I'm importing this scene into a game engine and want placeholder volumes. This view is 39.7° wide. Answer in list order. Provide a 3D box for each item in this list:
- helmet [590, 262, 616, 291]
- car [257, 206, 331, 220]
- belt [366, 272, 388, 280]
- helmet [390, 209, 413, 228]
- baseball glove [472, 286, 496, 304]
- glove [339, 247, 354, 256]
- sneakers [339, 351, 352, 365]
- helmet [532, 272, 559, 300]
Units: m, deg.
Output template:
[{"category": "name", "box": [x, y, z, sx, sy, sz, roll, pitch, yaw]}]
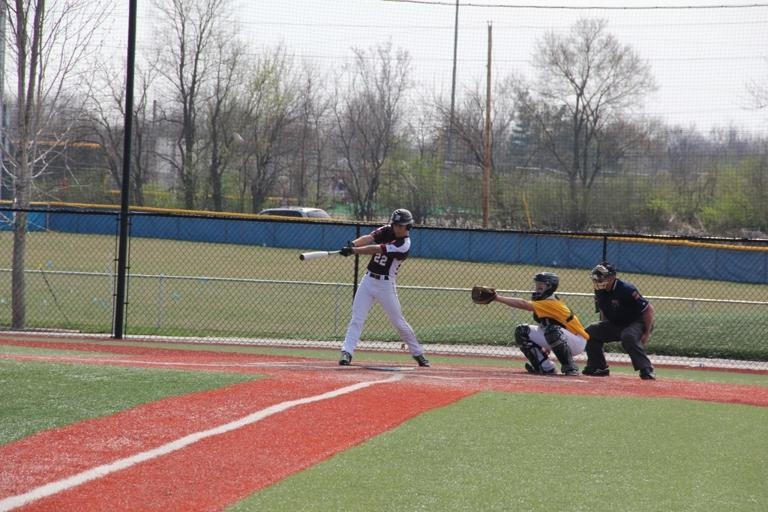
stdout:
[{"category": "helmet", "box": [4.242, 0.415, 20.645, 0.460, 0.511, 0.523, 0, -2, 44]}, {"category": "car", "box": [-2.720, -1.381, 34.373, 1.768, 0.594, 0.816, 4, 6, 15]}, {"category": "belt", "box": [-0.123, 0.402, 20.617, 0.408, 0.128, 0.056, 1, 4, -3]}, {"category": "helmet", "box": [0.350, -0.687, 20.836, 0.361, 0.302, 0.436, 7, -23, 3]}, {"category": "baseball glove", "box": [1.917, 0.781, 20.482, 0.399, 0.214, 0.301, 4, -1, -23]}, {"category": "glove", "box": [-0.739, -0.068, 20.369, 0.251, 0.157, 0.249, -1, 4, -29]}, {"category": "sneakers", "box": [-0.756, 1.989, 20.574, 0.246, 0.274, 0.323, 1, 3, -1]}, {"category": "helmet", "box": [3.116, 0.583, 20.682, 0.542, 0.559, 0.434, 5, 1, 7]}]
